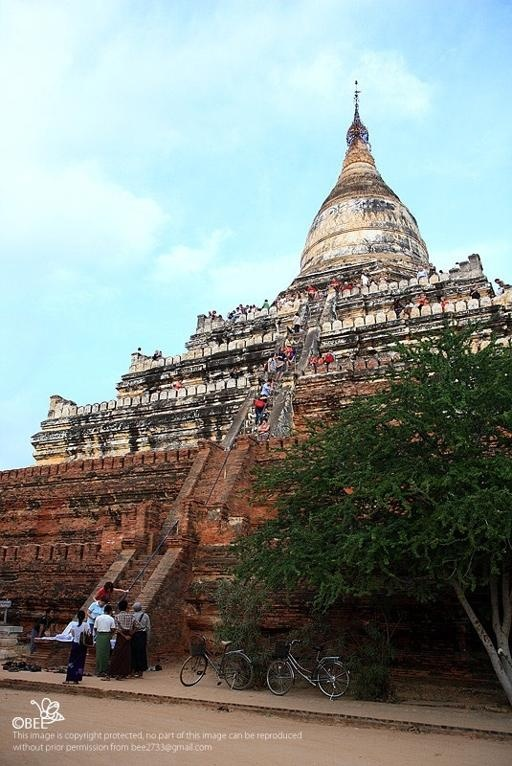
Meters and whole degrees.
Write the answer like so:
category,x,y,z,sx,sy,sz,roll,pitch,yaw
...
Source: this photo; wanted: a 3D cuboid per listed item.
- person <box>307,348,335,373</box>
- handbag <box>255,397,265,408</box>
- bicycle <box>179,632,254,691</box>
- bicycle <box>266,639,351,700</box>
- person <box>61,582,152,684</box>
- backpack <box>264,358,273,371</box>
category,x,y,z,sx,sy,sz,roll,pitch,yaw
person,1.847,-0.555,18.907,0.682,0.269,0.881,-2,13,20
handbag,0.108,0.504,17.169,0.224,0.107,0.194,0,12,-2
bicycle,-0.385,3.312,8.228,1.163,0.641,0.493,2,-18,12
bicycle,0.637,3.237,7.841,1.003,0.572,0.820,-4,-13,24
person,-1.650,3.193,8.556,0.690,0.842,0.483,4,-12,-14
backpack,0.404,-0.534,20.395,0.326,0.391,0.161,-7,9,-27
